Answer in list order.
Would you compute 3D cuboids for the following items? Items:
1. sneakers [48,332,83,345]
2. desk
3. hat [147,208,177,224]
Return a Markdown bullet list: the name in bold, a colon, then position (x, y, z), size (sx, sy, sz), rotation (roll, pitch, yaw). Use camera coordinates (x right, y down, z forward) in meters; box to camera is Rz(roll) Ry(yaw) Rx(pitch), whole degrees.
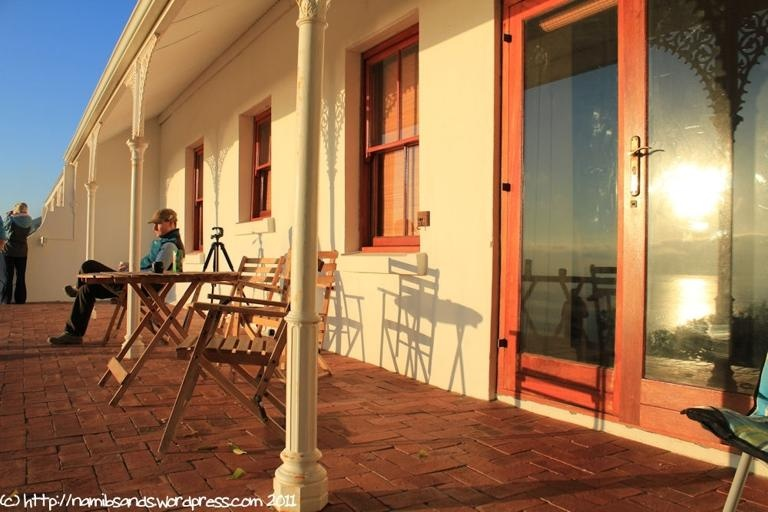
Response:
- **sneakers**: position (-4.470, 1.196, 8.002), size (0.468, 0.202, 0.173), rotation (11, -11, -33)
- **desk**: position (-2.523, 0.717, 6.439), size (1.585, 1.226, 1.479), rotation (-2, 5, -34)
- **hat**: position (-2.900, -0.523, 7.392), size (0.321, 0.168, 0.231), rotation (6, -4, -43)
